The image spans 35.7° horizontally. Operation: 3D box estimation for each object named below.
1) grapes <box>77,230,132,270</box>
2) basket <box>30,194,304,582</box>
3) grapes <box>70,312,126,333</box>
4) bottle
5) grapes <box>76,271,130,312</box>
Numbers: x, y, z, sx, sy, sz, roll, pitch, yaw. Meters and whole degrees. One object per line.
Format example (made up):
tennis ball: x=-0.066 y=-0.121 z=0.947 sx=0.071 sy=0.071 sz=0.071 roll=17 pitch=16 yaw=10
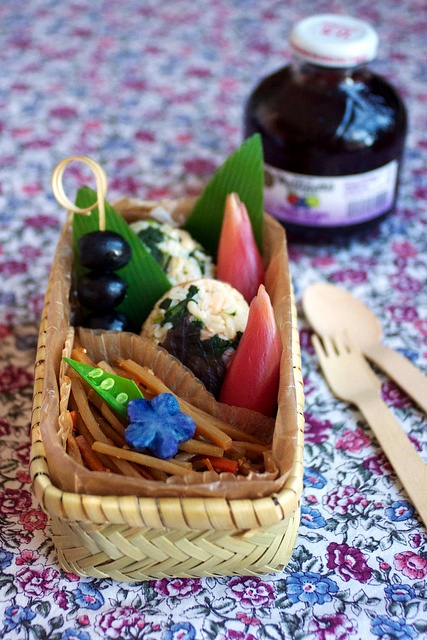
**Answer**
grapes: x=-0.097 y=-0.062 z=0.609 sx=0.055 sy=0.037 sz=0.040 roll=4 pitch=25 yaw=17
basket: x=-0.041 y=0.059 z=0.558 sx=0.203 sy=0.108 sz=0.284 roll=-1 pitch=41 yaw=-3
grapes: x=-0.109 y=0.000 z=0.620 sx=0.040 sy=0.018 sz=0.017 roll=-2 pitch=32 yaw=-8
bottle: x=0.102 y=-0.242 z=0.868 sx=0.285 sy=0.273 sz=0.240 roll=-4 pitch=47 yaw=1
grapes: x=-0.101 y=-0.024 z=0.602 sx=0.035 sy=0.030 sz=0.041 roll=-3 pitch=5 yaw=0
